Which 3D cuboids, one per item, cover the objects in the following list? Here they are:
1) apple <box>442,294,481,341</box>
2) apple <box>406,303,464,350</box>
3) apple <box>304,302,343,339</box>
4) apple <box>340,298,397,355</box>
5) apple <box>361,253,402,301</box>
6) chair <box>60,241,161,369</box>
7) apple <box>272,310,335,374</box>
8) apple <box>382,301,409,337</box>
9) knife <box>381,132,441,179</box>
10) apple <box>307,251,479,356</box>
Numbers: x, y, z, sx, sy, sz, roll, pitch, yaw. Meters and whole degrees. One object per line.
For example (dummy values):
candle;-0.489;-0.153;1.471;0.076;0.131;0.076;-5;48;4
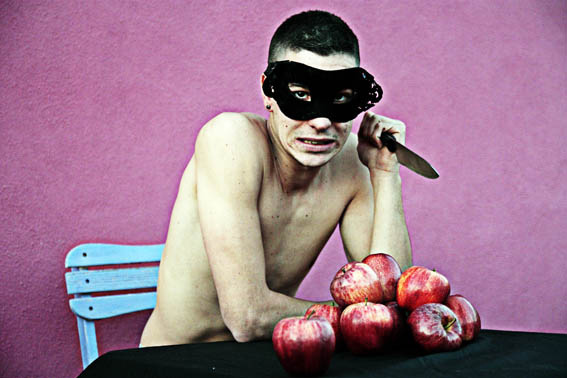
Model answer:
apple;0.746;0.507;2.866;0.159;0.178;0.195;-9;6;-10
apple;0.616;0.523;2.836;0.188;0.191;0.213;26;-19;-27
apple;0.183;0.520;2.794;0.128;0.161;0.134;11;-12;27
apple;0.352;0.536;2.768;0.206;0.211;0.198;-2;-4;18
apple;0.428;0.364;2.876;0.161;0.205;0.169;-7;2;40
chair;-0.953;0.620;3.832;0.566;0.858;0.611;1;-7;-33
apple;0.087;0.602;2.730;0.200;0.238;0.213;-2;-5;16
apple;0.461;0.522;2.773;0.107;0.137;0.108;10;-1;-20
knife;0.593;-0.181;3.364;0.057;0.126;0.511;-10;27;-27
apple;0.434;0.484;2.798;0.441;0.217;0.464;-11;-22;40
